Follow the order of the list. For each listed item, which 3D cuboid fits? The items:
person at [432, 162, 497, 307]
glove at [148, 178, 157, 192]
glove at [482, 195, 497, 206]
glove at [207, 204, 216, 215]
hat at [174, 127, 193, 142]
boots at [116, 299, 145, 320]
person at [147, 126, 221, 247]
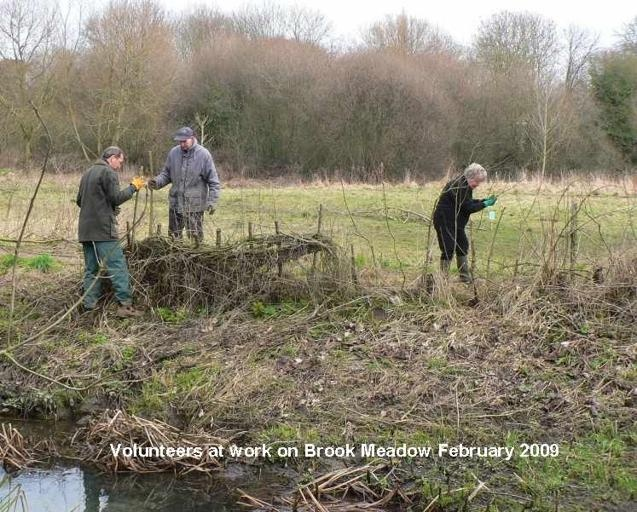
[{"bbox_3d":[2.125,-0.478,10.844,0.799,1.847,0.637,2,7,-1],"label":"person"},{"bbox_3d":[-2.431,-1.052,10.557,0.128,0.083,0.184,4,30,-11],"label":"glove"},{"bbox_3d":[2.558,-0.794,10.741,0.143,0.078,0.203,-3,20,36],"label":"glove"},{"bbox_3d":[-1.652,-0.719,11.030,0.121,0.160,0.155,-1,4,1],"label":"glove"},{"bbox_3d":[-1.993,-1.891,10.879,0.236,0.208,0.347,-1,0,19],"label":"hat"},{"bbox_3d":[-2.697,0.766,10.326,0.357,0.290,0.204,-1,10,-11],"label":"boots"},{"bbox_3d":[-2.093,-0.881,11.186,0.931,2.264,0.759,5,29,-3],"label":"person"}]
